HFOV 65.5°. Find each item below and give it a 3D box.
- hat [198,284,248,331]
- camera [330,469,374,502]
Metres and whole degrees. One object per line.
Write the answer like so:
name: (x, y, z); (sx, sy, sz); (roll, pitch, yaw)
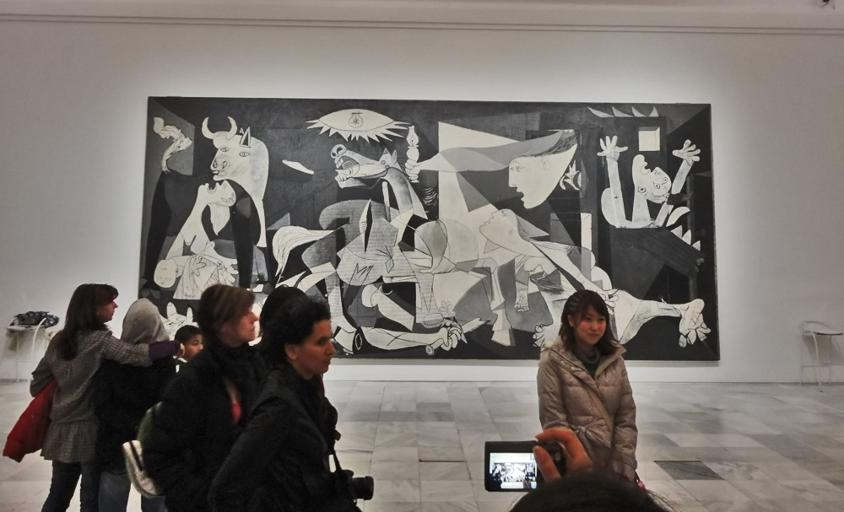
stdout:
hat: (-2.194, 0.572, 7.231); (0.587, 0.543, 0.435); (-1, -3, -23)
camera: (-0.729, 2.486, 7.020); (0.454, 0.199, 0.280); (10, 40, -25)
